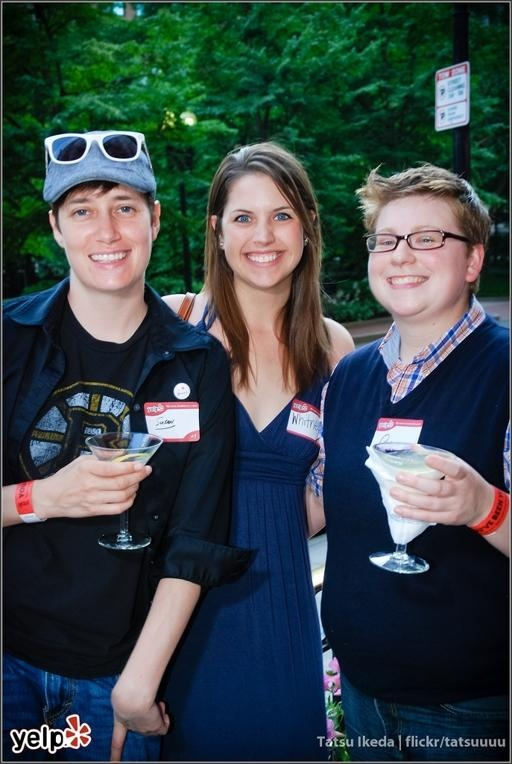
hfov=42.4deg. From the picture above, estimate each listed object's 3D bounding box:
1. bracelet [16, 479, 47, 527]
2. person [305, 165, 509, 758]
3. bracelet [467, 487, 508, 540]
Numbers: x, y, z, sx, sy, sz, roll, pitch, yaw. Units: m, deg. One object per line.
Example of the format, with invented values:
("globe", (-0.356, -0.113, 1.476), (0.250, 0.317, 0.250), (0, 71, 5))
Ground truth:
("bracelet", (-0.661, 0.352, 1.904), (0.062, 0.114, 0.073), (-9, 19, -11))
("person", (0.483, 0.299, 2.036), (0.622, 1.834, 0.811), (-4, 19, 4))
("bracelet", (0.637, 0.357, 1.776), (0.106, 0.143, 0.042), (-10, 20, -12))
